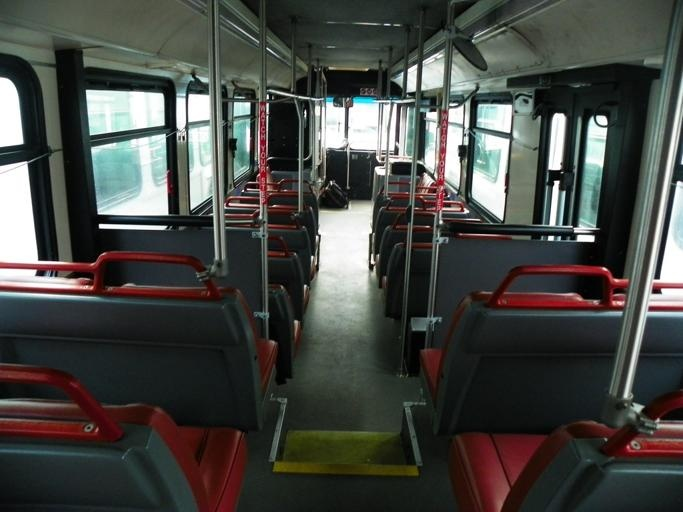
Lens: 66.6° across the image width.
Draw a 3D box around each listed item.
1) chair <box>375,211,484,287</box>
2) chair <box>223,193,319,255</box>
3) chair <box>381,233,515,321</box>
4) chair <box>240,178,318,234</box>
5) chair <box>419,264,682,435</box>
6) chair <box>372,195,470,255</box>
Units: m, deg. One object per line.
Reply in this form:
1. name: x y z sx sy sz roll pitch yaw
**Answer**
1. chair: 0.939 -0.042 6.187 1.222 0.901 0.872 0 14 -2
2. chair: -0.946 -0.495 7.259 1.238 0.883 0.926 -7 -1 -8
3. chair: 1.061 0.181 5.366 1.337 1.215 0.739 1 10 1
4. chair: -0.812 -0.606 8.027 0.776 1.034 1.088 7 14 -5
5. chair: 1.099 0.495 2.863 1.246 1.127 0.907 -1 15 -4
6. chair: 1.098 -0.516 7.480 1.008 0.697 0.735 -5 5 2
